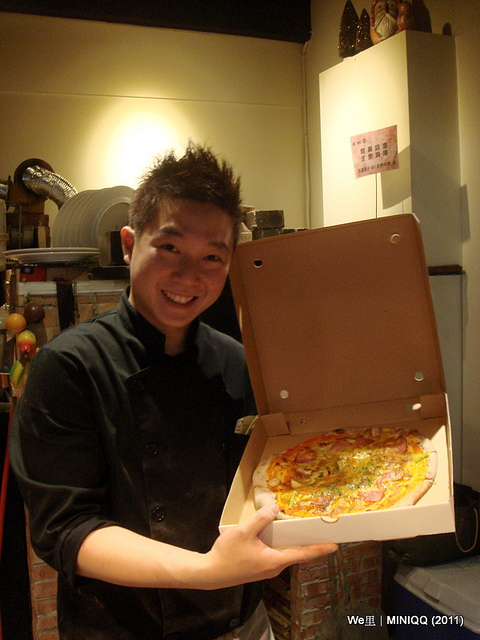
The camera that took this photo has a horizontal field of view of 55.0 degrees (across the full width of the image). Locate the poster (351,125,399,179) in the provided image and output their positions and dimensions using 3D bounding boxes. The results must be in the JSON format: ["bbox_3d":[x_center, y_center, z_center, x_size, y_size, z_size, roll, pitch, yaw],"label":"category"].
[{"bbox_3d":[0.641,-0.845,2.308,0.047,0.211,0.261,-5,4,-38],"label":"poster"}]

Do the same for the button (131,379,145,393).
[{"bbox_3d":[-0.190,0.123,0.873,0.021,0.023,0.005,2,-3,-44],"label":"button"}]

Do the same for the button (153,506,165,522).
[{"bbox_3d":[-0.149,0.361,0.865,0.025,0.029,0.004,-6,5,-42],"label":"button"}]

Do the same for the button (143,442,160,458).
[{"bbox_3d":[-0.163,0.241,0.867,0.029,0.028,0.010,-5,4,-26],"label":"button"}]

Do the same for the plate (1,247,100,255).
[{"bbox_3d":[-0.735,-0.279,1.841,0.337,0.013,0.100,-5,4,-16],"label":"plate"}]

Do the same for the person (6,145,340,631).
[{"bbox_3d":[-0.157,0.064,0.882,0.468,0.823,0.554,-3,3,3],"label":"person"}]
